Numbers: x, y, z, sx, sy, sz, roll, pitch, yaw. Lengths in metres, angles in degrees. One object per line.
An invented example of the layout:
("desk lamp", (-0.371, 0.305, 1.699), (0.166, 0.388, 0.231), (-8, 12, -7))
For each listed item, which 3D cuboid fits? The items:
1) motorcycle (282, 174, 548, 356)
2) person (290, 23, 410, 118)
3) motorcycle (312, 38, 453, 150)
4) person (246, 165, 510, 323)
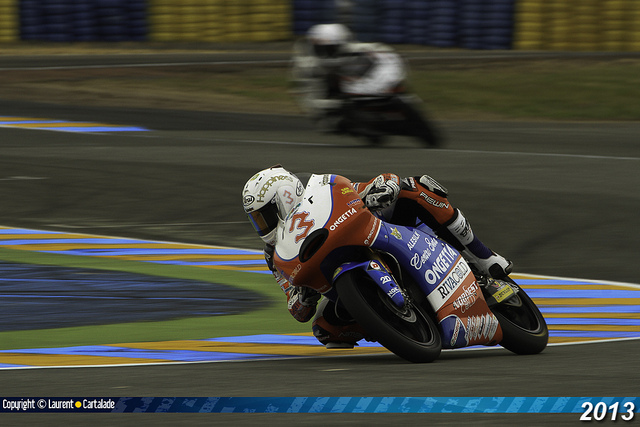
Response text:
("motorcycle", (0.546, 0.330, 3.868), (1.295, 1.119, 0.776), (-10, 16, -32))
("person", (0.328, -2.065, 9.714), (1.428, 0.839, 2.004), (-2, 1, 25))
("motorcycle", (0.904, -1.993, 10.486), (1.777, 1.412, 2.597), (-24, 25, -4))
("person", (0.283, 0.177, 4.051), (1.546, 0.750, 0.516), (14, 40, -38))
